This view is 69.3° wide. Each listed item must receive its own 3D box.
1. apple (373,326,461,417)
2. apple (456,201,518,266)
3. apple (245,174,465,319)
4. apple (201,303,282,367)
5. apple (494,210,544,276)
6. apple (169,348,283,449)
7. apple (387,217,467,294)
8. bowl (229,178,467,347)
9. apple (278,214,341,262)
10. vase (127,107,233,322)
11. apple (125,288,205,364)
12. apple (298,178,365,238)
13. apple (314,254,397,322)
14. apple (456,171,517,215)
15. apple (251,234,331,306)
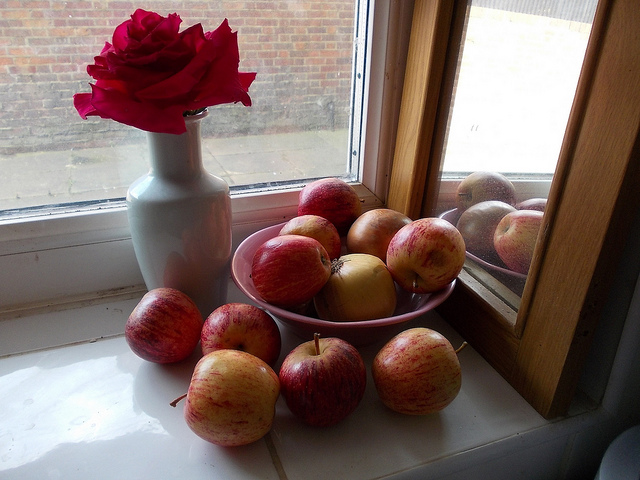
[{"bbox_3d":[0.149,0.202,0.683,0.118,0.128,0.139,-10,55,6],"label":"apple"},{"bbox_3d":[0.260,-0.018,0.772,0.094,0.088,0.083,23,-3,-1],"label":"apple"},{"bbox_3d":[0.063,0.016,0.799,0.315,0.134,0.265,17,46,35],"label":"apple"},{"bbox_3d":[-0.113,0.135,0.688,0.093,0.102,0.094,-7,5,-9],"label":"apple"},{"bbox_3d":[0.311,0.005,0.726,0.067,0.090,0.072,-7,12,23],"label":"apple"},{"bbox_3d":[-0.103,0.207,0.625,0.148,0.126,0.133,6,64,5],"label":"apple"},{"bbox_3d":[0.173,0.026,0.754,0.115,0.124,0.143,-1,36,28],"label":"apple"},{"bbox_3d":[0.068,0.024,0.829,0.363,0.207,0.377,-6,33,4],"label":"bowl"},{"bbox_3d":[-0.011,-0.015,0.824,0.090,0.082,0.082,2,49,26],"label":"apple"},{"bbox_3d":[-0.238,-0.027,0.814,0.166,0.377,0.170,19,28,41],"label":"vase"},{"bbox_3d":[-0.250,0.134,0.754,0.117,0.125,0.118,-15,20,-22],"label":"apple"},{"bbox_3d":[0.016,-0.049,0.871,0.111,0.118,0.123,7,41,7],"label":"apple"},{"bbox_3d":[0.058,0.083,0.773,0.103,0.106,0.101,-34,10,-39],"label":"apple"},{"bbox_3d":[0.276,-0.077,0.765,0.056,0.070,0.060,19,49,26],"label":"apple"},{"bbox_3d":[-0.043,0.045,0.761,0.127,0.107,0.112,-22,-7,6],"label":"apple"}]
